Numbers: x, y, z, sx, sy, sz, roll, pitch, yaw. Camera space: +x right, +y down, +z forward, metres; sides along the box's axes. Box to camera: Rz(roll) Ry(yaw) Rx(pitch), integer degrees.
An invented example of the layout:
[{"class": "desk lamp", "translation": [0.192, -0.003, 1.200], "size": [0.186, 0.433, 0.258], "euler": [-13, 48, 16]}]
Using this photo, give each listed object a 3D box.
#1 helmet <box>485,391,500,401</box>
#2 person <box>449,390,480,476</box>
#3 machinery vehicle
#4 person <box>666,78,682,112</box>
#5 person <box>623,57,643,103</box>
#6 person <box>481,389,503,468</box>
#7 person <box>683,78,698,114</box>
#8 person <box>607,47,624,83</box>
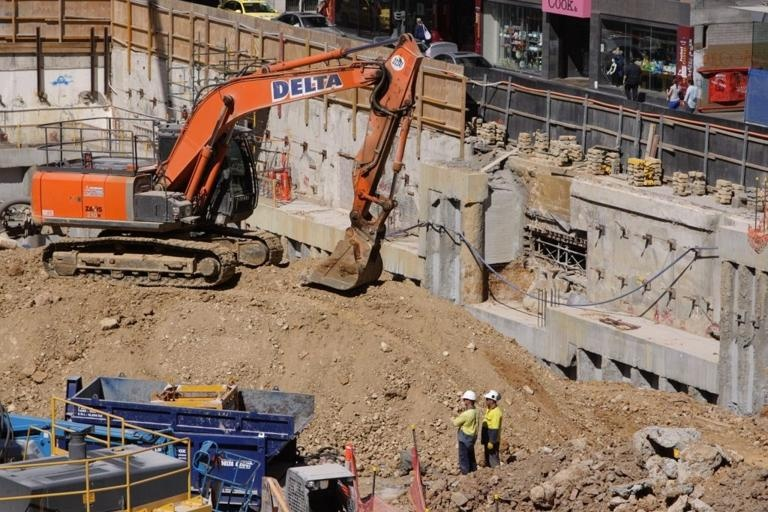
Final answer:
[{"class": "helmet", "translation": [2.281, 3.040, 31.672], "size": [0.298, 0.152, 0.222], "euler": [22, 17, 39]}, {"class": "person", "translation": [1.766, 3.840, 31.734], "size": [0.536, 1.805, 0.881], "euler": [1, 10, 3]}, {"class": "machinery vehicle", "translation": [-4.202, -2.677, 39.235], "size": [11.639, 8.105, 4.756], "euler": [4, 11, 17]}, {"class": "person", "translation": [8.087, -4.509, 40.709], "size": [0.361, 0.869, 0.952], "euler": [2, 11, 12]}, {"class": "person", "translation": [7.063, -4.951, 41.891], "size": [0.425, 1.027, 0.742], "euler": [1, 10, 8]}, {"class": "person", "translation": [2.311, 3.761, 31.736], "size": [0.406, 1.684, 0.791], "euler": [0, 10, 3]}, {"class": "person", "translation": [8.521, -4.408, 40.702], "size": [0.396, 0.851, 2.186], "euler": [2, 11, 12]}, {"class": "person", "translation": [7.044, -5.702, 44.634], "size": [0.486, 1.146, 2.278], "euler": [2, 11, 8]}]
